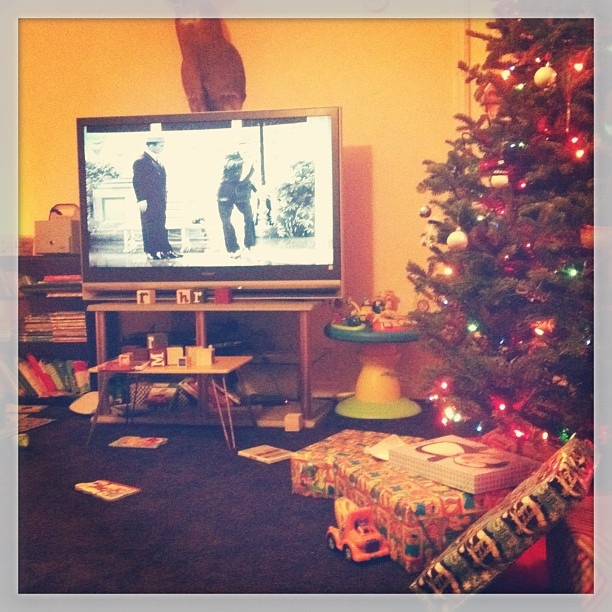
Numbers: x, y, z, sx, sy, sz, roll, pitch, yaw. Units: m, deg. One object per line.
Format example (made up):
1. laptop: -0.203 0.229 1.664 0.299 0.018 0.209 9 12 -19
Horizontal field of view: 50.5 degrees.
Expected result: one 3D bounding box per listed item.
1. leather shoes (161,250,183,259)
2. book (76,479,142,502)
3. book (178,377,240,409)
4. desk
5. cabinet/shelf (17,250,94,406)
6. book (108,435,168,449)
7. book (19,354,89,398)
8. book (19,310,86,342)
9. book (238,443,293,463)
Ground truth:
1. leather shoes: -0.794 -0.299 3.803 0.146 0.057 0.048 -3 7 -7
2. book: -0.843 0.761 2.719 0.283 0.014 0.164 4 9 35
3. book: -0.594 0.507 3.851 0.272 0.077 0.212 11 3 34
4. desk: -0.763 0.471 3.620 0.912 0.437 0.933 -1 7 -1
5. cabinet/shelf: -1.963 0.236 4.567 0.673 0.933 0.640 -1 0 -27
6. book: -0.871 0.702 3.329 0.288 0.011 0.159 0 7 8
7. book: -1.703 0.466 4.351 0.499 0.270 0.138 0 8 10
8. book: -1.735 0.142 4.387 0.564 0.210 0.103 1 8 19
9. book: -0.183 0.702 3.087 0.143 0.016 0.130 5 4 44
